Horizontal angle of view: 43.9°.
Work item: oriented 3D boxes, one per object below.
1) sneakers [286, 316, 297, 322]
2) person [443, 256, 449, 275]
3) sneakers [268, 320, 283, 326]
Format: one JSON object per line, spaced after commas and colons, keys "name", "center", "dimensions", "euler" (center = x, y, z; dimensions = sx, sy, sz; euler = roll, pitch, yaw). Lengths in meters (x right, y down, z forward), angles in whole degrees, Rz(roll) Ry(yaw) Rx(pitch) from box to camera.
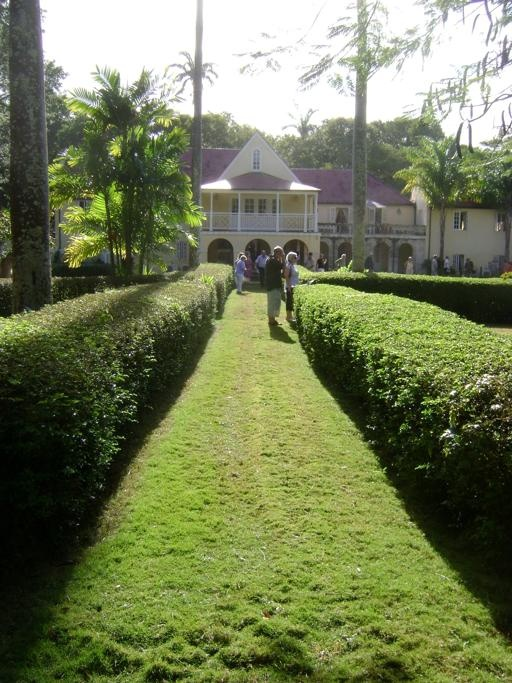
{"name": "sneakers", "center": [0.725, -0.449, 13.231], "dimensions": [0.075, 0.092, 0.221], "euler": [-4, 0, -12]}
{"name": "person", "center": [10.768, -4.211, 35.919], "dimensions": [0.278, 0.852, 0.740], "euler": [4, 11, 15]}
{"name": "sneakers", "center": [0.390, -0.351, 12.778], "dimensions": [0.263, 0.119, 0.114], "euler": [-3, 14, -15]}
